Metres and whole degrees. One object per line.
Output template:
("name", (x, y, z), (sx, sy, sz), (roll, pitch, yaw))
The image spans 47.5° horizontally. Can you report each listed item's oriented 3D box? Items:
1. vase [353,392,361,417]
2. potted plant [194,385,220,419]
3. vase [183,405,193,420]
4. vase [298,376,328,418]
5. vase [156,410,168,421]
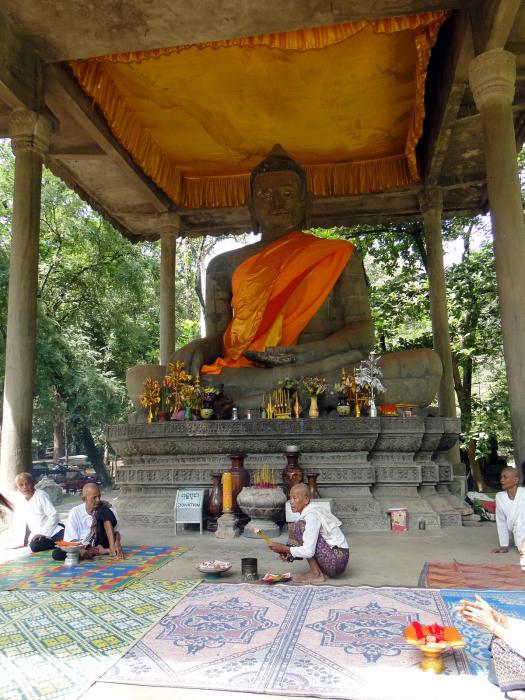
("vase", (0.903, 0.517, 5.684), (0.067, 0.218, 0.128), (-2, -9, 8))
("potted plant", (-0.569, 0.554, 6.084), (0.259, 0.323, 0.408), (-1, -8, 3))
("vase", (-0.743, 0.630, 5.973), (0.076, 0.139, 0.081), (0, -9, -8))
("vase", (0.519, 0.458, 5.946), (0.358, 0.504, 0.343), (1, -20, 4))
("vase", (-1.031, 0.682, 6.115), (0.101, 0.074, 0.089), (-1, -6, 8))
